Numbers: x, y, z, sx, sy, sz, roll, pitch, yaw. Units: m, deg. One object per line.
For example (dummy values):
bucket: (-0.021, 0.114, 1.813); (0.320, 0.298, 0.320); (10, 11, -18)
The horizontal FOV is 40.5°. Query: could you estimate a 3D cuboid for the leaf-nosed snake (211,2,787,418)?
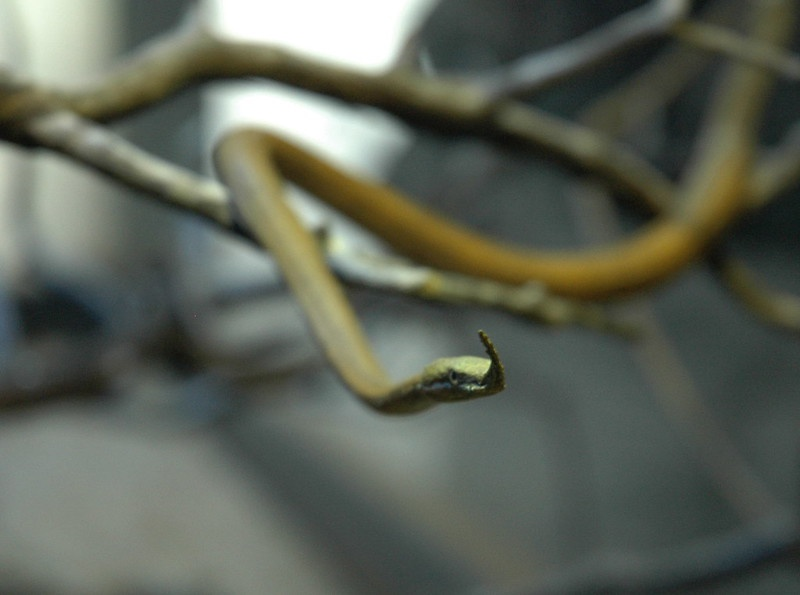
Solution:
leaf-nosed snake: (0.108, -0.085, 0.962); (0.466, 0.157, 0.234); (-32, 51, -33)
